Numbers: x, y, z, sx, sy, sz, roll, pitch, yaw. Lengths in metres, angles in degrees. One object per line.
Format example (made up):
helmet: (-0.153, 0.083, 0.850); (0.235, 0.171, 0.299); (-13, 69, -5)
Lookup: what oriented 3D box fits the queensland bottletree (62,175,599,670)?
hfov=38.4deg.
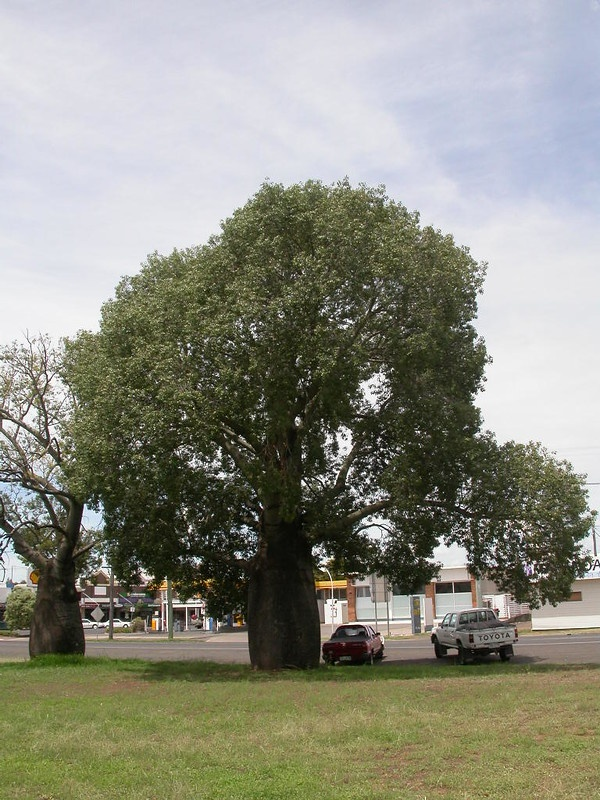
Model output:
queensland bottletree: (-1.497, 0.328, 25.105); (13.440, 14.701, 13.978); (-1, -1, -20)

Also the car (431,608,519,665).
car: (5.106, 7.069, 26.022); (1.556, 1.150, 2.771); (5, -13, -15)
